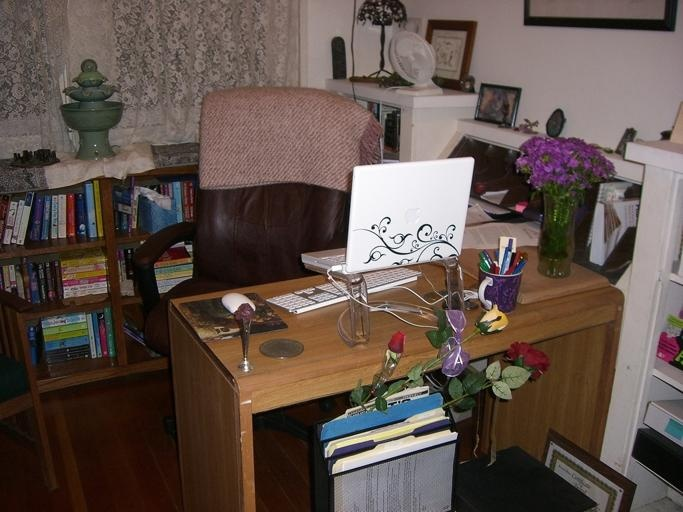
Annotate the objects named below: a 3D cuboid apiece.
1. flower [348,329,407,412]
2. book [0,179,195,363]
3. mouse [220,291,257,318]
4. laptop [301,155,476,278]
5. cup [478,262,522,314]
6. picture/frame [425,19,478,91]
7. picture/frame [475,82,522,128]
[{"bbox_3d":[0.109,0.323,1.573,0.146,0.335,0.242,1,17,8],"label":"flower"},{"bbox_3d":[-1.261,0.060,2.678,0.815,0.802,0.247,-11,24,-23],"label":"book"},{"bbox_3d":[-0.300,0.144,1.546,0.068,0.063,0.188,-8,19,-20],"label":"mouse"},{"bbox_3d":[0.151,-0.155,1.671,0.410,0.362,0.343,-6,21,-23],"label":"laptop"},{"bbox_3d":[0.508,0.098,1.768,0.157,0.116,0.100,-23,32,-40],"label":"cup"},{"bbox_3d":[0.590,-1.053,2.845,0.029,0.388,0.374,-12,23,-27],"label":"picture/frame"},{"bbox_3d":[0.781,-0.743,2.655,0.022,0.191,0.225,-2,23,-42],"label":"picture/frame"}]
